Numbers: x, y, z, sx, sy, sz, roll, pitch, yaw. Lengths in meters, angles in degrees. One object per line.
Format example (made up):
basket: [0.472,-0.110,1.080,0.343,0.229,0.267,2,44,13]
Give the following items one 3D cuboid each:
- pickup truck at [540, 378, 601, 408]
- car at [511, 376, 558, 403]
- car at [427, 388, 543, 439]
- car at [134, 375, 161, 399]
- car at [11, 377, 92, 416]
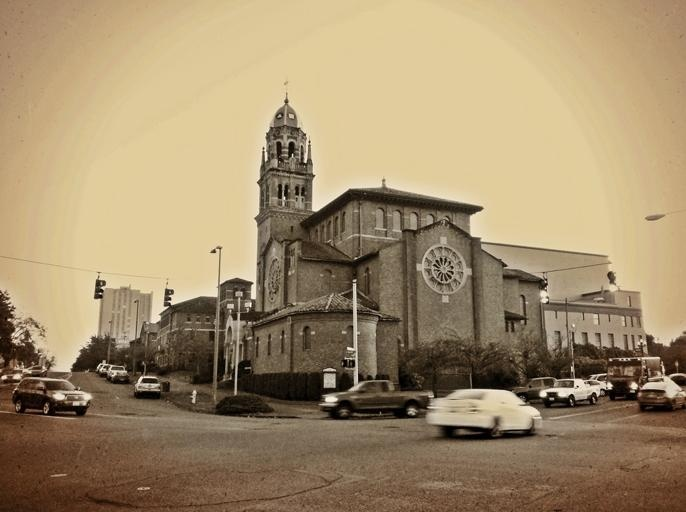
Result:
pickup truck: [15.049,9.067,40.074,4.273,1.836,1.563,10,-20,-31]
car: [13.746,9.384,42.707,3.439,1.765,1.910,1,-14,-7]
car: [5.379,5.694,22.094,3.538,1.156,1.877,4,-9,-36]
car: [-16.423,10.985,50.720,1.946,1.814,1.573,7,-18,-22]
car: [-15.118,7.136,30.971,4.400,2.067,1.756,-8,-18,25]
